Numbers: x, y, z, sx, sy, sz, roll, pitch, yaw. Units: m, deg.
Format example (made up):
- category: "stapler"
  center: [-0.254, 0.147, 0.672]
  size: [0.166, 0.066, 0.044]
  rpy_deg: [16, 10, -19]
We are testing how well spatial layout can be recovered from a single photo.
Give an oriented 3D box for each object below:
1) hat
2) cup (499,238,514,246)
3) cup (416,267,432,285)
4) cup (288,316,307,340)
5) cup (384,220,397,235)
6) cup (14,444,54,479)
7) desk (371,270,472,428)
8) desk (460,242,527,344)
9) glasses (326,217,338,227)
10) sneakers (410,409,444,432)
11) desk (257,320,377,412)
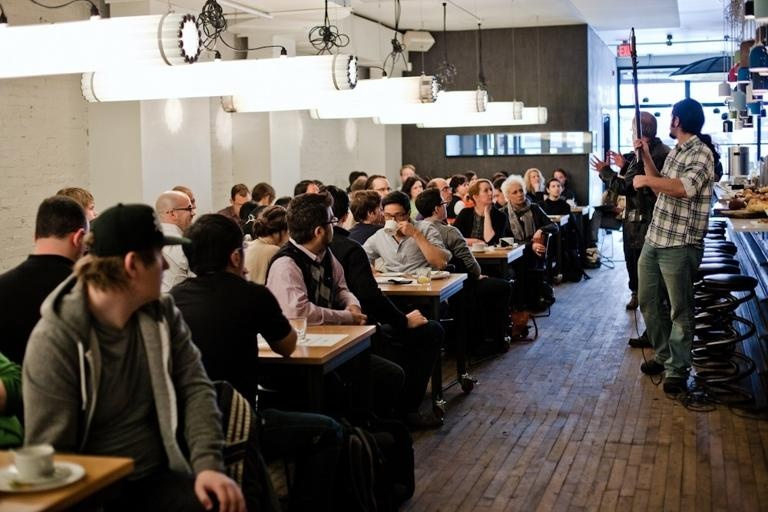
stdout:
- category: "hat"
  center: [-0.925, -0.114, 2.304]
  size: [0.282, 0.151, 0.179]
  rpy_deg: [-10, 11, -23]
- category: "cup"
  center: [1.339, -0.148, 6.962]
  size: [0.115, 0.083, 0.096]
  rpy_deg: [-2, 2, 20]
- category: "cup"
  center: [0.306, 0.152, 4.921]
  size: [0.105, 0.121, 0.108]
  rpy_deg: [0, -6, 0]
- category: "cup"
  center: [-0.476, 0.400, 3.498]
  size: [0.106, 0.127, 0.112]
  rpy_deg: [-1, -8, 0]
- category: "cup"
  center: [0.045, -0.247, 5.345]
  size: [0.096, 0.083, 0.110]
  rpy_deg: [-4, -24, 21]
- category: "cup"
  center: [-1.086, 0.643, 1.934]
  size: [0.092, 0.081, 0.101]
  rpy_deg: [-1, -4, 0]
- category: "desk"
  center: [0.443, 0.686, 5.131]
  size: [0.955, 0.941, 0.941]
  rpy_deg: [-2, -2, 15]
- category: "desk"
  center: [1.259, 0.319, 6.855]
  size: [1.117, 1.110, 0.855]
  rpy_deg: [-1, 0, 16]
- category: "glasses"
  center: [-0.328, -0.203, 3.957]
  size: [0.061, 0.081, 0.070]
  rpy_deg: [-14, 10, -8]
- category: "sneakers"
  center: [0.295, 1.215, 4.600]
  size: [0.199, 0.074, 0.126]
  rpy_deg: [1, -1, -1]
- category: "desk"
  center: [-0.378, 0.622, 3.555]
  size: [0.376, 0.337, 0.695]
  rpy_deg: [3, 10, 25]
